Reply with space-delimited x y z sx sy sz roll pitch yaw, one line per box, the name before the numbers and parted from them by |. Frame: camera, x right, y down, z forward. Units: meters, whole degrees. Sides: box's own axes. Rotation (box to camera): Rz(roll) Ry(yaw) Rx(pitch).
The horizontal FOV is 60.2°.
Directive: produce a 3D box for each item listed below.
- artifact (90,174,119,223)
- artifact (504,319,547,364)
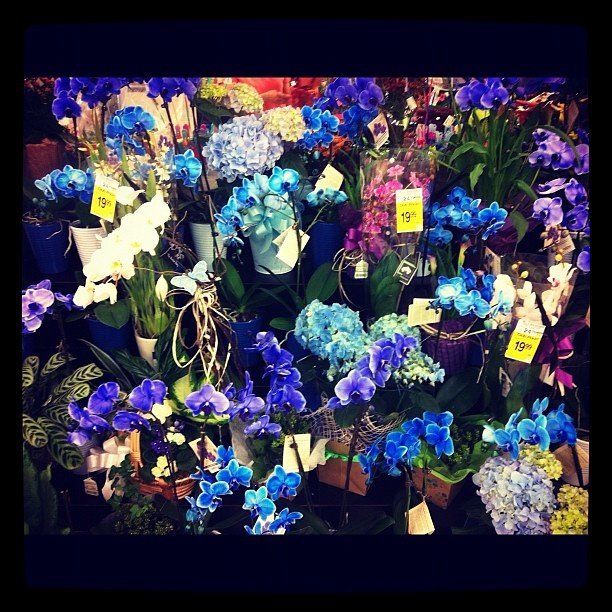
artifact | -0.559 -0.300 1.473 0.074 0.132 0.018 5 9 12
artifact | 0.630 0.096 1.507 0.091 0.132 0.048 21 6 4
